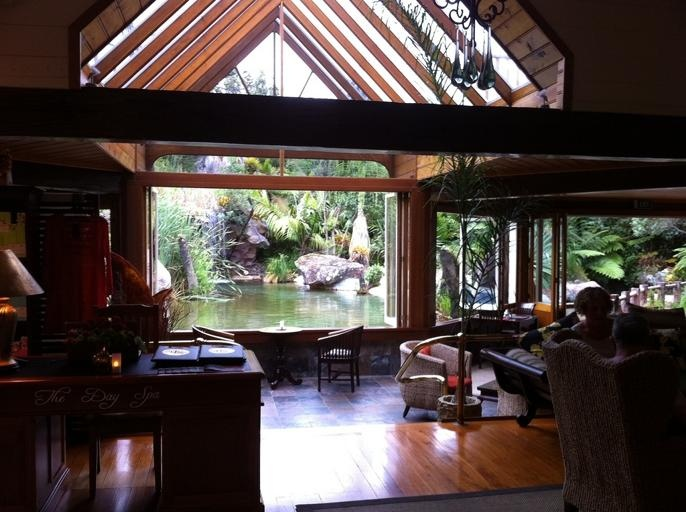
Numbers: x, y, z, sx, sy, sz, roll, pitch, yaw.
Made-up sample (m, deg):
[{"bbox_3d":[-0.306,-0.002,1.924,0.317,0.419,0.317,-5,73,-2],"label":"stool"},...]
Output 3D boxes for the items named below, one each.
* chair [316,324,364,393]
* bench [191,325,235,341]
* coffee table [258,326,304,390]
[{"bbox_3d":[-0.098,1.521,8.741,0.844,1.357,1.053,2,-2,3],"label":"chair"},{"bbox_3d":[-1.404,0.827,5.786,0.340,0.143,0.277,5,9,-41],"label":"bench"},{"bbox_3d":[-0.968,1.562,8.410,0.642,0.945,0.547,-4,8,-11],"label":"coffee table"}]
